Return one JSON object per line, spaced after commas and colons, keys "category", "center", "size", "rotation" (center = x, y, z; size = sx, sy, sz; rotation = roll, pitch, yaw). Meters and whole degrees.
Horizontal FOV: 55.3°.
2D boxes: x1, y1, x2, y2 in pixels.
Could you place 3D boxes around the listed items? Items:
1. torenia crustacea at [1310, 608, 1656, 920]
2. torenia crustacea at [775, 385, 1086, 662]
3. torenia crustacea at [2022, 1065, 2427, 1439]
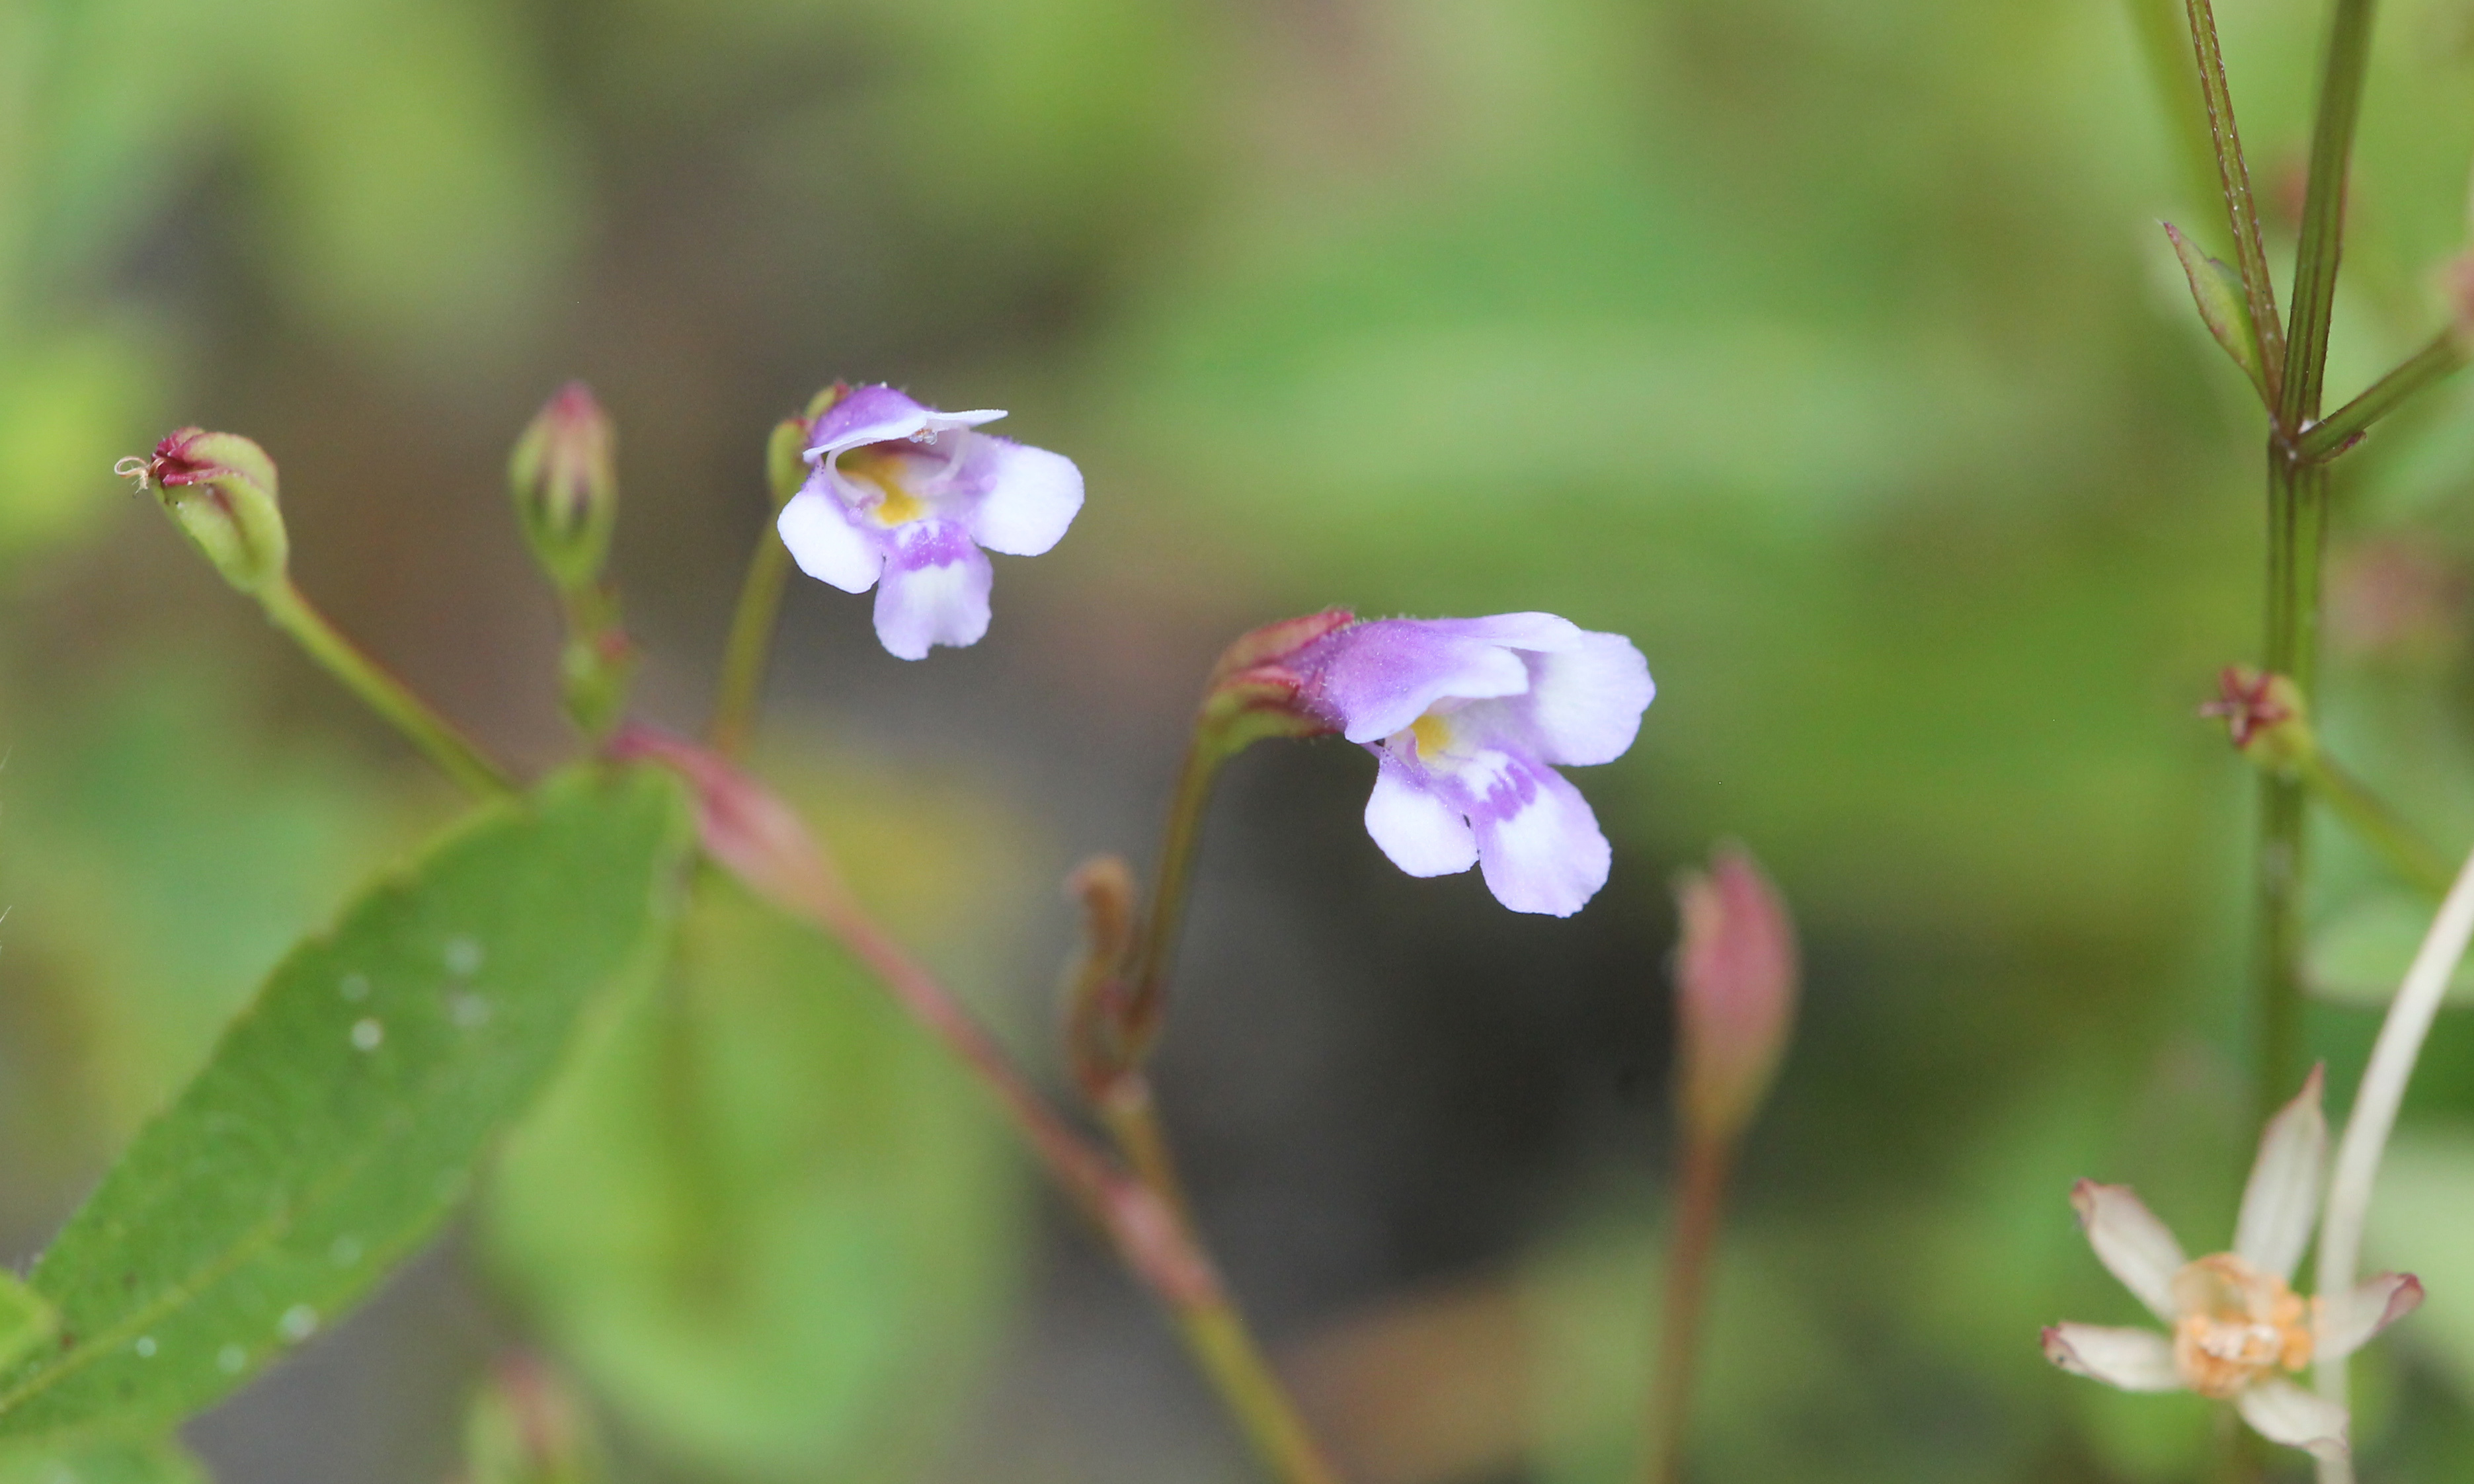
{"category": "torenia crustacea", "center": [0.156, 0.007, 1.479], "size": [0.160, 0.205, 0.144], "rotation": [-11, -9, 44]}
{"category": "torenia crustacea", "center": [-0.196, -0.145, 1.507], "size": [0.191, 0.182, 0.095], "rotation": [-6, -7, 7]}
{"category": "torenia crustacea", "center": [0.611, 0.356, 1.456], "size": [0.213, 0.109, 0.251], "rotation": [-19, 31, 24]}
